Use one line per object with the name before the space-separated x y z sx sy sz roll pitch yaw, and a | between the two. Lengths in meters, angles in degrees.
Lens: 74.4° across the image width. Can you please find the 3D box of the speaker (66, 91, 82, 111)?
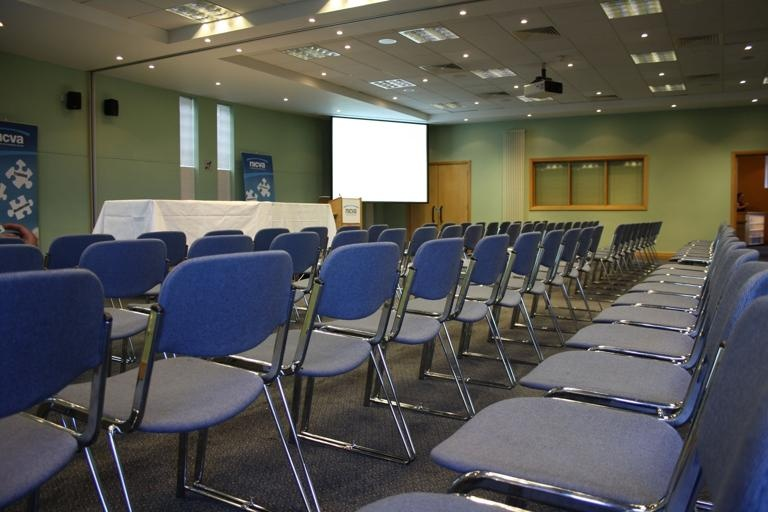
speaker | -6.206 -3.141 10.238 0.230 0.358 0.321 7 8 31

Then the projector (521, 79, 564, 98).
projector | 3.102 -3.343 9.952 0.609 0.343 0.720 4 7 7
